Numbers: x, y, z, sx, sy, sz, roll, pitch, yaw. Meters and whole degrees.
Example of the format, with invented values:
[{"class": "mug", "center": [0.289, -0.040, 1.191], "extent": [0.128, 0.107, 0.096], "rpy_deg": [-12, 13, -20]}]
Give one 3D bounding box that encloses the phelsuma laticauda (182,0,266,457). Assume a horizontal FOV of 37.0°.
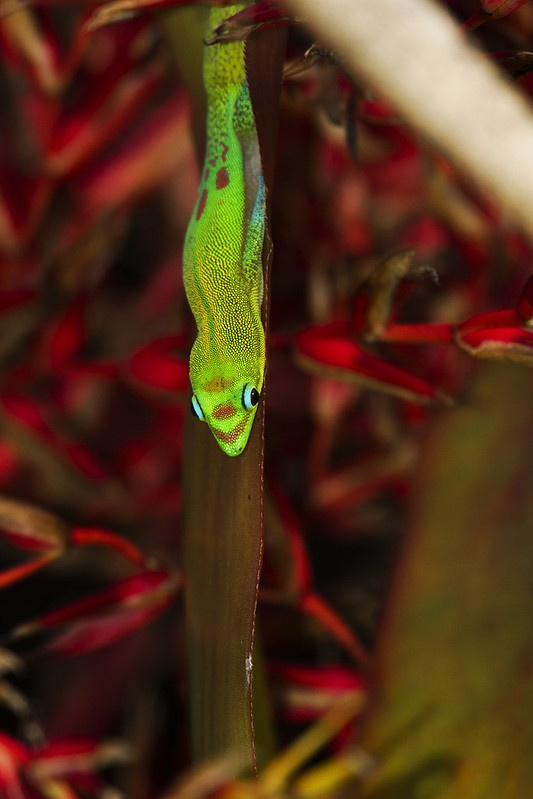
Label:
[{"class": "phelsuma laticauda", "center": [-0.015, -0.054, 0.273], "extent": [0.030, 0.019, 0.152], "rpy_deg": [1, 92, 6]}]
